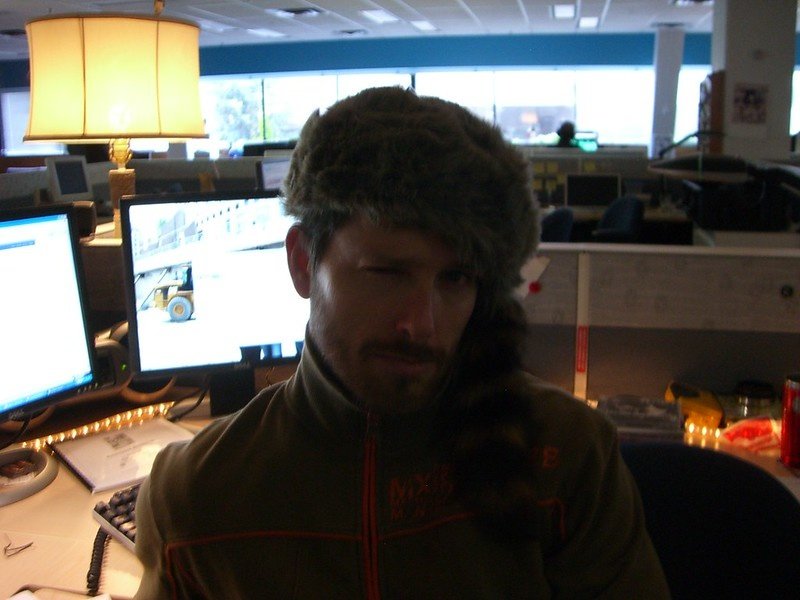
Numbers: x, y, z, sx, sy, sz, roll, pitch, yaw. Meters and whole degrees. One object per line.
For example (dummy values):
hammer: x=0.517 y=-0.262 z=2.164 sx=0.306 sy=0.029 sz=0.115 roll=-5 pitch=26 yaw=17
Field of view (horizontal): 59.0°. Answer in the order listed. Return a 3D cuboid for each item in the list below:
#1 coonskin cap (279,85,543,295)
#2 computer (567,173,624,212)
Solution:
coonskin cap: x=0.011 y=-0.161 z=0.950 sx=0.266 sy=0.186 sz=0.224 roll=19 pitch=6 yaw=35
computer: x=1.449 y=-0.832 z=5.344 sx=0.435 sy=0.321 sz=0.249 roll=1 pitch=7 yaw=10
